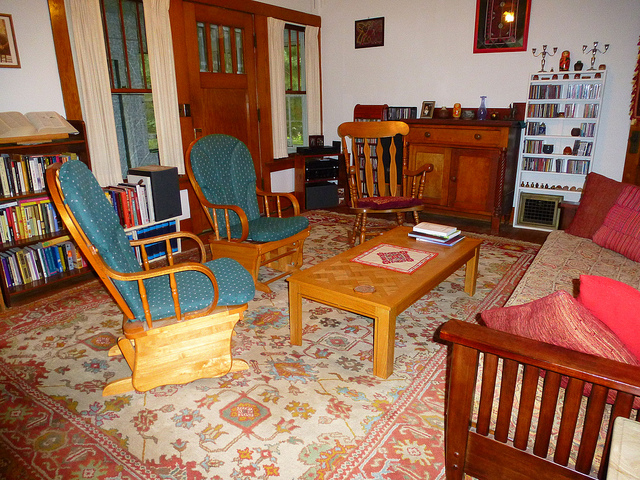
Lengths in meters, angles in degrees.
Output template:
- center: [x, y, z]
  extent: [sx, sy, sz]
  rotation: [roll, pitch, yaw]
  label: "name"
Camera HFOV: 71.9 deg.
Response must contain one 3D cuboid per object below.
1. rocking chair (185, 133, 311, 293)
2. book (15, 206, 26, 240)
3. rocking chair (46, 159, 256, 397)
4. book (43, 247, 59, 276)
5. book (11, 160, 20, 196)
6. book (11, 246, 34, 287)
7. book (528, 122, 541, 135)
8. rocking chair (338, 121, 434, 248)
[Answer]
- center: [-0.623, -0.254, 3.923]
  extent: [1.012, 1.142, 0.747]
  rotation: [17, 25, 28]
  label: "rocking chair"
- center: [-2.425, -0.139, 3.566]
  extent: [0.042, 0.251, 0.078]
  rotation: [-8, 24, -11]
  label: "book"
- center: [-0.910, 0.187, 2.606]
  extent: [0.987, 1.321, 0.654]
  rotation: [-6, 23, -9]
  label: "rocking chair"
- center: [-2.313, 0.178, 3.781]
  extent: [0.050, 0.178, 0.199]
  rotation: [-21, 3, -26]
  label: "book"
- center: [-2.440, -0.496, 3.512]
  extent: [0.037, 0.245, 0.127]
  rotation: [-14, 25, -23]
  label: "book"
- center: [-2.441, 0.218, 3.634]
  extent: [0.081, 0.269, 0.142]
  rotation: [-18, 27, -31]
  label: "book"
- center: [2.562, -1.333, 5.249]
  extent: [0.127, 0.141, 0.172]
  rotation: [-6, 7, -40]
  label: "book"
- center: [0.848, -0.693, 4.912]
  extent: [1.216, 1.457, 1.042]
  rotation: [-4, 18, -10]
  label: "rocking chair"
